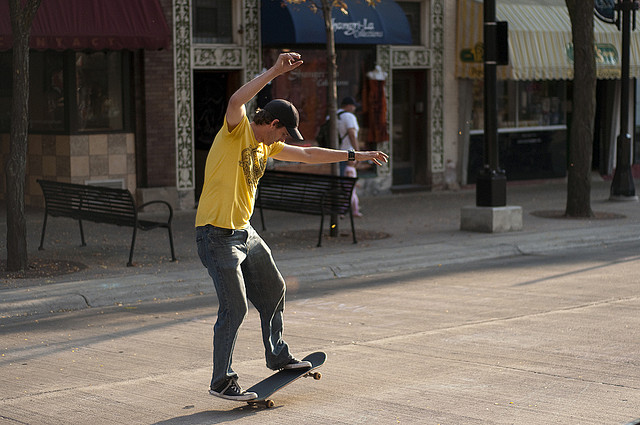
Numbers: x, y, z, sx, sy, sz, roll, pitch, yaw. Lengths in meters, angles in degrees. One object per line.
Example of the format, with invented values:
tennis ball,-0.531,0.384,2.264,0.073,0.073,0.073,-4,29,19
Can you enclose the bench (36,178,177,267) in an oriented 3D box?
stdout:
bench,-3.988,0.203,18.690,2.599,1.495,1.157,0,-3,34

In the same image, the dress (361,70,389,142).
dress,1.338,-2.589,24.986,0.602,1.698,0.223,0,12,2
